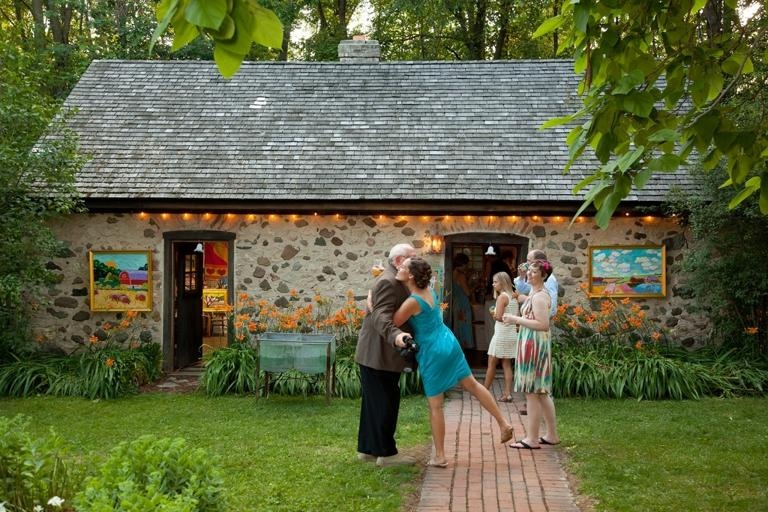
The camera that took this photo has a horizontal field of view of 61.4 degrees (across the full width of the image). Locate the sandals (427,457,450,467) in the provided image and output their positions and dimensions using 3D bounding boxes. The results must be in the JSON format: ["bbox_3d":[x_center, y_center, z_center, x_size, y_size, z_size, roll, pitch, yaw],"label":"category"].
[{"bbox_3d":[0.639,2.487,7.801,0.173,0.068,0.111,7,-2,22],"label":"sandals"}]

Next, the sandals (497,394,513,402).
[{"bbox_3d":[1.924,2.286,10.322,0.261,0.112,0.090,5,-1,11],"label":"sandals"}]

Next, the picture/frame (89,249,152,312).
[{"bbox_3d":[-4.909,0.496,11.997,1.042,1.132,0.090,-1,-5,-7],"label":"picture/frame"}]

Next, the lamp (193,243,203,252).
[{"bbox_3d":[-3.832,-0.151,13.322,0.220,0.203,0.186,-5,9,-34],"label":"lamp"}]

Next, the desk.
[{"bbox_3d":[-1.393,1.599,10.547,1.305,1.141,0.949,1,3,1],"label":"desk"}]
